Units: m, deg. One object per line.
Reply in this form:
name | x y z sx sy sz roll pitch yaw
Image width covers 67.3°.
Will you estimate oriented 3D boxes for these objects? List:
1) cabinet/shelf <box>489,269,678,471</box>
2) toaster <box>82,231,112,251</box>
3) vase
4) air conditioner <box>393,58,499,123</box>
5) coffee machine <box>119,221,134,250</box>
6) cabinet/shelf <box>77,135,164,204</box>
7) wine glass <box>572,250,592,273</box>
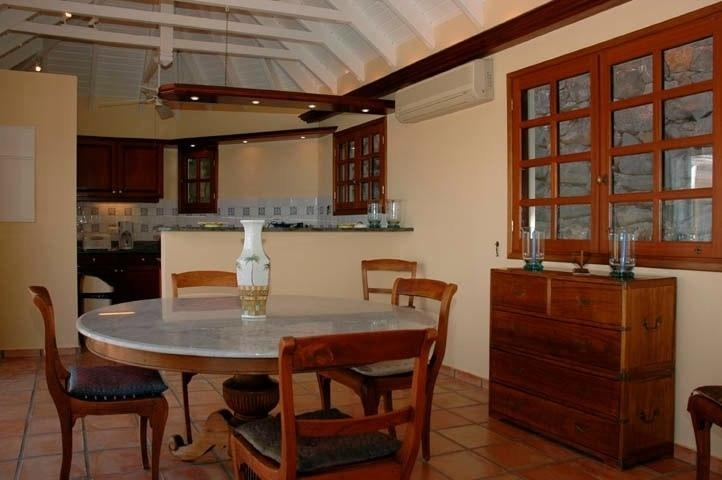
cabinet/shelf | 1.697 0.886 4.277 0.673 1.211 1.274 2 -2 -29
toaster | -3.810 0.011 7.820 0.392 0.188 0.367 -2 11 -9
vase | -0.645 0.171 3.249 0.188 0.598 0.229 -3 12 -13
air conditioner | 0.843 -1.508 5.522 0.276 0.572 1.194 -7 13 -31
coffee machine | -3.609 -0.067 8.372 0.196 0.370 0.570 -5 12 -23
cabinet/shelf | -3.828 -1.058 8.416 1.400 0.958 0.509 -2 12 -36
wine glass | 1.708 0.170 4.207 0.193 0.220 0.182 -1 0 16
